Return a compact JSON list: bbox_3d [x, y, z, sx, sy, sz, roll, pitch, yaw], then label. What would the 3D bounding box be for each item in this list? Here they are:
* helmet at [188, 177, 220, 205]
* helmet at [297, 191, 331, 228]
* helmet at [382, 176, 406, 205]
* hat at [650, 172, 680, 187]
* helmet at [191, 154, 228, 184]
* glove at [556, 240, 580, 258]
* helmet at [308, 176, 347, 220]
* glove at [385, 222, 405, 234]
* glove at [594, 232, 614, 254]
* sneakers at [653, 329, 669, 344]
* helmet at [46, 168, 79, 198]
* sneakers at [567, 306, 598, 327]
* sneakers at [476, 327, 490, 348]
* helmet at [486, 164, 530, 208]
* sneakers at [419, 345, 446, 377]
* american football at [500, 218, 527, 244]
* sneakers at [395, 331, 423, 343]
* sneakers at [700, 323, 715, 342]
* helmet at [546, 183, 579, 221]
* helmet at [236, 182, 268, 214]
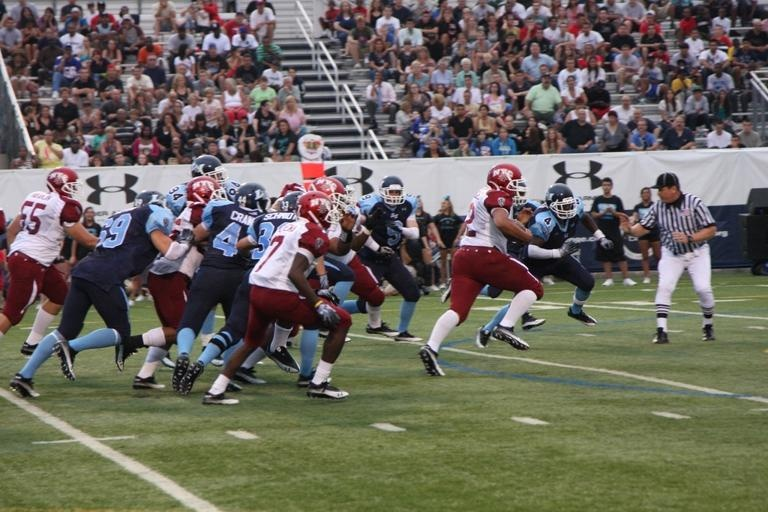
[{"bbox_3d":[-1.974,-0.703,9.970,0.405,0.240,0.261,-15,18,-15],"label":"helmet"},{"bbox_3d":[-0.658,-0.453,9.069,0.333,0.248,0.206,-6,3,-37],"label":"helmet"},{"bbox_3d":[0.089,-0.845,12.037,0.299,0.387,0.389,-5,2,-2],"label":"helmet"},{"bbox_3d":[3.648,-0.973,11.992,0.549,0.216,0.324,-1,3,5],"label":"hat"},{"bbox_3d":[-2.064,-1.003,10.842,0.527,0.319,0.319,1,10,1],"label":"helmet"},{"bbox_3d":[2.335,-0.084,11.737,0.217,0.211,0.453,-4,2,13],"label":"glove"},{"bbox_3d":[-0.700,-0.616,9.603,0.649,0.444,0.410,-1,8,-9],"label":"helmet"},{"bbox_3d":[0.131,-0.368,12.193,0.189,0.052,0.131,27,-19,4],"label":"glove"},{"bbox_3d":[2.889,-0.177,12.113,0.228,0.155,0.558,-9,13,-4],"label":"glove"},{"bbox_3d":[3.497,1.010,11.754,0.185,0.206,0.242,-4,2,14],"label":"sneakers"},{"bbox_3d":[-3.404,-0.794,9.984,0.437,0.283,0.293,4,13,-19],"label":"helmet"},{"bbox_3d":[2.772,0.847,12.764,0.567,0.158,0.199,16,-41,-20],"label":"sneakers"},{"bbox_3d":[1.181,0.987,11.135,0.141,0.241,0.250,-5,2,-1],"label":"sneakers"},{"bbox_3d":[1.393,-0.837,10.756,0.685,0.440,0.430,-1,9,-3],"label":"helmet"},{"bbox_3d":[0.522,1.151,10.136,0.234,0.356,0.274,-5,2,3],"label":"sneakers"},{"bbox_3d":[1.410,-0.324,10.218,0.367,0.338,0.347,-4,2,8],"label":"american football"},{"bbox_3d":[0.304,1.076,12.396,0.343,0.090,0.309,-3,2,-4],"label":"sneakers"},{"bbox_3d":[4.178,0.983,11.933,0.146,0.196,0.317,-4,2,18],"label":"sneakers"},{"bbox_3d":[2.248,-0.684,11.836,0.359,0.462,0.287,-5,3,4],"label":"helmet"},{"bbox_3d":[-1.421,-0.614,9.956,0.417,0.317,0.321,-10,23,-43],"label":"helmet"}]
